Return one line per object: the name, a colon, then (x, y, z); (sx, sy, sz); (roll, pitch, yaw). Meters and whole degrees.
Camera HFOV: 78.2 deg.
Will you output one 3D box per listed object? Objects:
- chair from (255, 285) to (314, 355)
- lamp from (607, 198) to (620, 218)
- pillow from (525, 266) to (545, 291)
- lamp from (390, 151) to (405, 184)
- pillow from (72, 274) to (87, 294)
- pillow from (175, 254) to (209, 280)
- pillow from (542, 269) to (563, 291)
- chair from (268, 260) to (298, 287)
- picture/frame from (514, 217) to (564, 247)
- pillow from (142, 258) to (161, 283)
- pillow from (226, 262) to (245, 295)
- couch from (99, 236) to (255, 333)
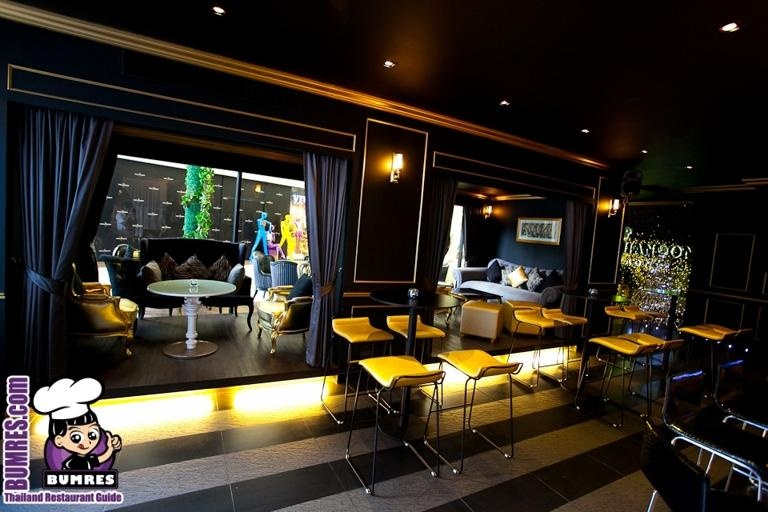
chair: (-1.469, 0.870, 6.650); (0.916, 0.956, 0.832); (4, -1, -33)
lamp: (4.136, -0.837, 8.431); (0.256, 0.326, 0.084); (4, 3, -23)
pillow: (3.191, 0.514, 10.035); (0.140, 0.428, 0.456); (28, -10, -11)
lamp: (0.195, -1.164, 6.371); (0.199, 0.261, 0.081); (3, 3, -35)
pillow: (-3.912, 0.376, 6.053); (0.200, 0.216, 0.254); (13, -12, -34)
pillow: (-3.304, 0.213, 8.179); (0.418, 0.251, 0.409); (9, 3, -5)
pillow: (3.498, 0.495, 9.739); (0.352, 0.322, 0.576); (5, 1, 9)
chair: (-1.777, 0.344, 8.512); (0.451, 0.533, 0.475); (1, 15, -11)
picture/frame: (3.636, -0.555, 11.074); (0.089, 0.537, 1.255); (3, 2, -30)
pillow: (-3.656, 0.252, 7.429); (0.116, 0.225, 0.322); (-9, 17, -6)
pillow: (-2.418, 0.399, 7.722); (0.168, 0.307, 0.447); (26, -34, -15)
couch: (-3.377, 0.457, 7.888); (2.159, 1.473, 1.243); (2, 0, -32)
